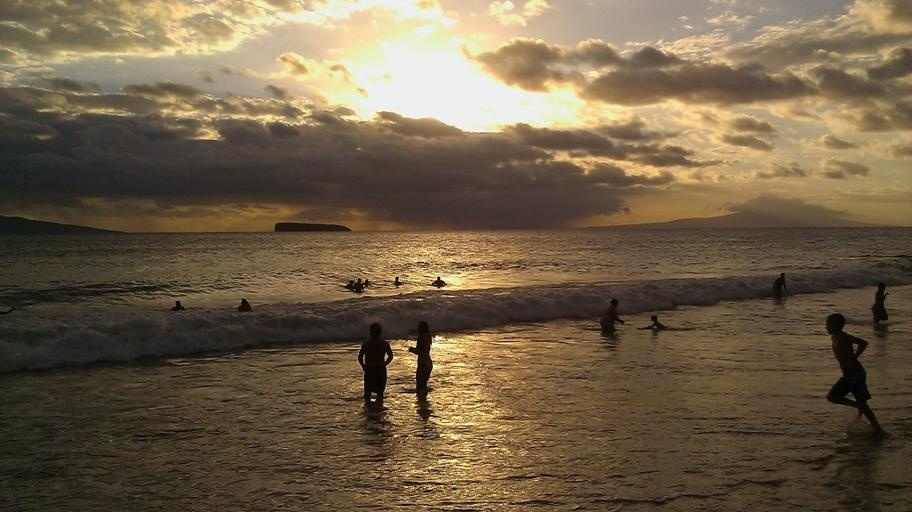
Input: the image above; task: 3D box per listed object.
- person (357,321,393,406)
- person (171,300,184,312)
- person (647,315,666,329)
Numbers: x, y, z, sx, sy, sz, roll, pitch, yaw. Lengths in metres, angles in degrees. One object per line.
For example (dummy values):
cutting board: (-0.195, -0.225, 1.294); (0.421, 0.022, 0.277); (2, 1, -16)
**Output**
person: (-2.481, 3.257, 19.432); (0.988, 2.439, 0.812); (-5, 12, -6)
person: (-14.314, 2.640, 32.537); (0.693, 0.522, 1.742); (2, -10, -30)
person: (8.626, 2.880, 27.298); (0.668, 0.624, 0.842); (0, 9, 14)
